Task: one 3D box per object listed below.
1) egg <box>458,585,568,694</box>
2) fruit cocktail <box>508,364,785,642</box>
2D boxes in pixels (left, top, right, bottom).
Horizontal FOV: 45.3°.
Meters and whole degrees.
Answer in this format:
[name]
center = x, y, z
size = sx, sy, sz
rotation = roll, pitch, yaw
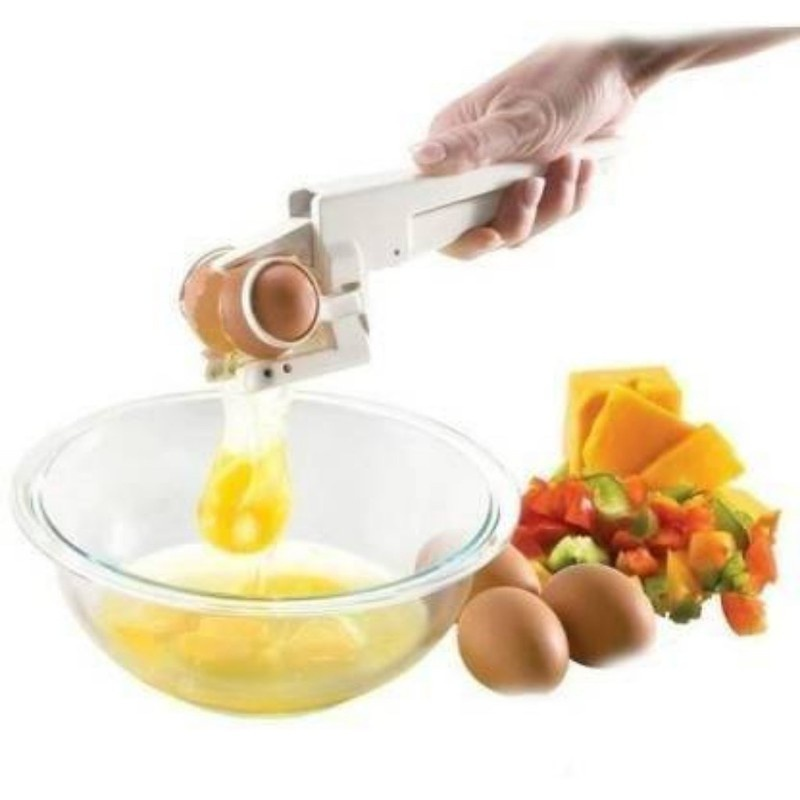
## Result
[egg]
center = 0.185, 0.351, 1.429
size = 0.209, 0.144, 0.156
rotation = -15, -3, 22
[fruit cocktail]
center = 0.410, 0.167, 1.757
size = 0.515, 0.245, 0.492
rotation = -5, -75, -33
